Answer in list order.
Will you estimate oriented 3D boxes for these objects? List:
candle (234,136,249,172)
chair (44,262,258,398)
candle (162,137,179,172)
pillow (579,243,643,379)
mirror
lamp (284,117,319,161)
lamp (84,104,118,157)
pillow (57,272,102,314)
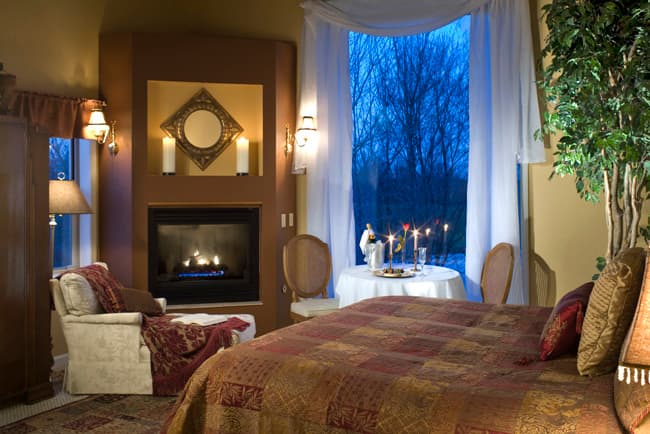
[{"bbox_3d":[-1.046,-0.771,6.002,0.196,0.458,0.298,-4,13,-9],"label":"candle"},{"bbox_3d":[-1.736,1.082,4.891,1.541,1.078,1.133,-1,0,-1],"label":"chair"},{"bbox_3d":[-1.920,-0.748,5.831,0.191,0.442,0.288,-5,13,-12],"label":"candle"},{"bbox_3d":[1.643,0.556,2.727,0.210,0.460,0.666,2,7,27],"label":"pillow"},{"bbox_3d":[-1.542,-1.090,5.950,0.996,1.091,0.055,0,-13,-13],"label":"mirror"},{"bbox_3d":[-0.324,-1.022,6.223,0.526,0.616,0.323,-3,-4,32],"label":"lamp"},{"bbox_3d":[-2.649,-1.018,5.621,0.337,0.598,0.285,1,4,-26],"label":"lamp"},{"bbox_3d":[-2.340,0.746,4.518,0.143,0.371,0.367,-21,-14,34],"label":"pillow"}]
